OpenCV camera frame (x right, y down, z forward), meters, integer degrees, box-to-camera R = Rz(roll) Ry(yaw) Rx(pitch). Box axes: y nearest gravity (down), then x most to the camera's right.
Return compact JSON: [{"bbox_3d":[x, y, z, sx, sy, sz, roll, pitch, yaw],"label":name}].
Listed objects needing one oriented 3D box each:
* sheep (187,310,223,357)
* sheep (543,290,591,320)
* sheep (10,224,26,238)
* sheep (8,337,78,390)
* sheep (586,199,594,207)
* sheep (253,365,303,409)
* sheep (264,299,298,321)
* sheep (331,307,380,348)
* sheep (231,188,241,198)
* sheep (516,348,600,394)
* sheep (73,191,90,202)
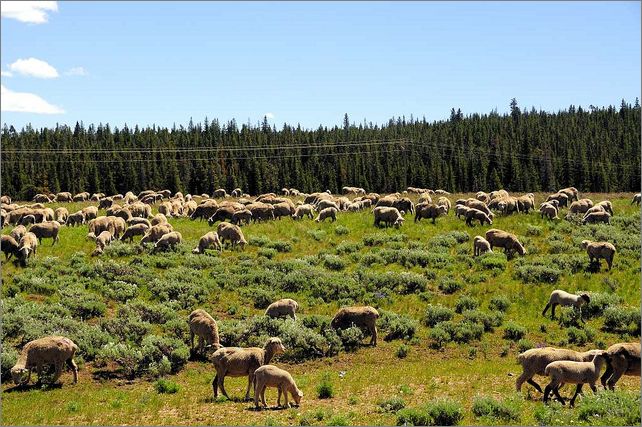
[{"bbox_3d":[-8.250,8.584,54.767,1.589,3.187,4.100,-3,20,-34],"label":"sheep"},{"bbox_3d":[18.358,6.774,57.951,3.313,2.084,1.238,-2,0,24],"label":"sheep"},{"bbox_3d":[-25.734,1.607,65.526,0.603,1.239,2.218,5,15,-12],"label":"sheep"},{"bbox_3d":[-18.605,10.039,51.791,4.113,3.248,1.873,-6,-9,-9],"label":"sheep"},{"bbox_3d":[25.697,-1.160,73.871,0.656,0.993,0.396,7,-8,26],"label":"sheep"},{"bbox_3d":[-2.943,11.299,49.391,3.168,3.032,2.576,0,-1,5],"label":"sheep"},{"bbox_3d":[-2.951,7.123,57.373,2.355,1.544,1.648,-2,0,-5],"label":"sheep"},{"bbox_3d":[2.192,8.309,56.944,4.260,2.887,1.315,-6,5,8],"label":"sheep"},{"bbox_3d":[-12.787,-3.209,117.933,1.233,1.839,1.802,3,-7,-17],"label":"sheep"},{"bbox_3d":[15.610,10.230,50.147,5.793,3.994,1.475,4,18,19],"label":"sheep"},{"bbox_3d":[-35.338,-2.557,113.895,1.313,1.317,3.148,-2,0,12],"label":"sheep"}]
